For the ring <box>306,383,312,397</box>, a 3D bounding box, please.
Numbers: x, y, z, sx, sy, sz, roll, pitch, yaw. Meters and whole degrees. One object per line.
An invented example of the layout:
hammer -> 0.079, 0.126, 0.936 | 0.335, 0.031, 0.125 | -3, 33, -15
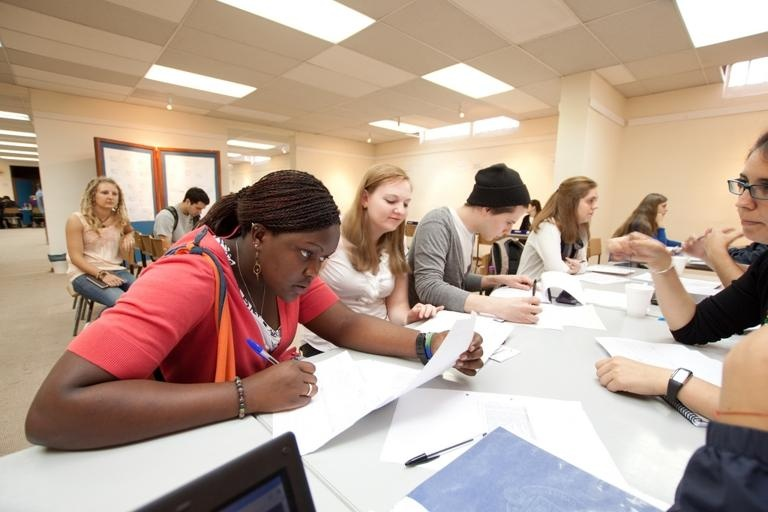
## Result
ring -> -0.267, 0.482, 1.527 | 0.015, 0.041, 0.035 | 4, -2, -16

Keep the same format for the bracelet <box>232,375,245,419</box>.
bracelet -> -0.502, 0.490, 1.456 | 0.034, 0.115, 0.113 | -7, -12, -8

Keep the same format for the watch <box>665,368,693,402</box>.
watch -> 1.042, 0.460, 1.503 | 0.094, 0.093, 0.053 | -34, 35, -25

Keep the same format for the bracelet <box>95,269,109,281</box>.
bracelet -> -2.352, 0.162, 3.534 | 0.091, 0.097, 0.065 | -18, -8, 2

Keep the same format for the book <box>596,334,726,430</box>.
book -> 1.017, 0.446, 1.596 | 0.312, 0.101, 0.316 | 20, 26, 35

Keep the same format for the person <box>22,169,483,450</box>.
person -> -0.437, 0.173, 1.841 | 1.615, 0.979, 0.827 | 1, 8, -23

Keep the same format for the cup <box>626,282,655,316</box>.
cup -> 1.261, 0.210, 2.166 | 0.157, 0.158, 0.157 | 5, 11, -1

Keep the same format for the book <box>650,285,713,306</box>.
book -> 1.720, 0.237, 2.392 | 0.186, 0.045, 0.191 | -11, 13, -38

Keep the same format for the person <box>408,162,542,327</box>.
person -> 0.557, -0.120, 2.603 | 0.839, 0.917, 0.884 | 11, 12, 8

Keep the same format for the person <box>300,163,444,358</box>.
person -> -0.138, 0.031, 2.394 | 0.816, 1.046, 0.684 | 7, 1, -6

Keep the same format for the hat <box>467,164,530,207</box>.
hat -> 0.683, -0.428, 2.536 | 0.379, 0.240, 0.288 | 7, 17, 29

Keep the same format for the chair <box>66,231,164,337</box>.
chair -> -1.834, 0.151, 2.817 | 0.315, 0.552, 0.864 | 9, 4, -43
